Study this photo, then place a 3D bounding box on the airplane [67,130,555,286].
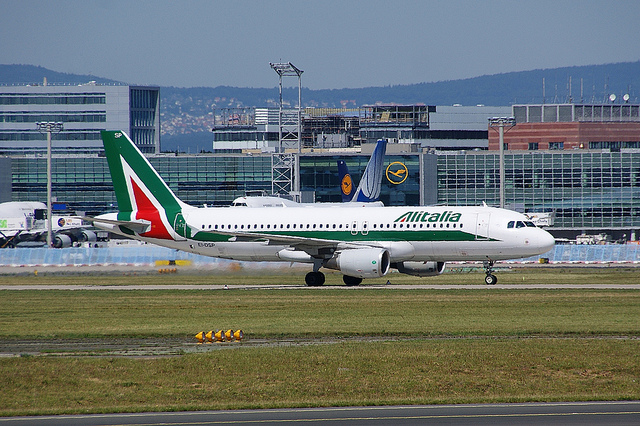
[{"bbox_3d":[-0.525,-0.254,128.800,45.436,11.421,37.417,2,9,24],"label":"airplane"}]
